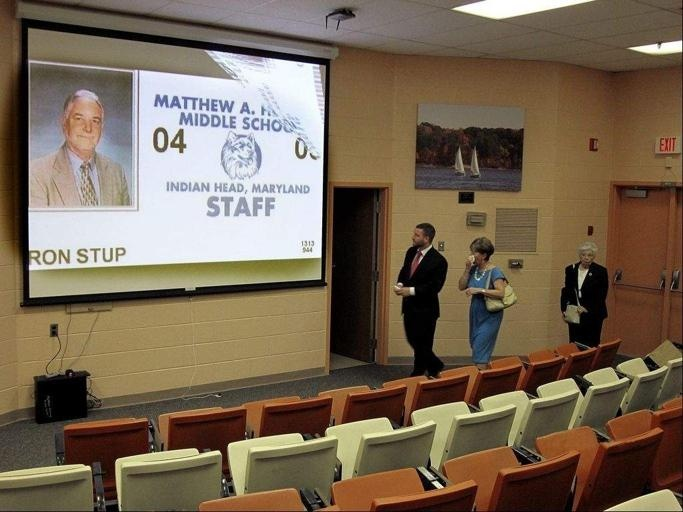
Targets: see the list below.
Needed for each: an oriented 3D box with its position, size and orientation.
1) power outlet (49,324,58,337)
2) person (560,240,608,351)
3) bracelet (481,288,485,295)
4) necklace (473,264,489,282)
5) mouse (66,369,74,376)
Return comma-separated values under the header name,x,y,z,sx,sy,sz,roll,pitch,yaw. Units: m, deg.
name,x,y,z,sx,sy,sz,roll,pitch,yaw
power outlet,-3.297,0.862,5.973,0.117,0.176,0.123,1,0,-22
person,3.308,0.736,7.152,0.545,1.824,0.573,-20,21,-32
bracelet,1.654,0.420,6.071,0.035,0.053,0.048,-1,-10,29
necklace,1.660,0.211,6.186,0.134,0.182,0.047,-6,-16,37
mouse,-3.080,1.332,5.925,0.064,0.050,0.066,2,-1,-14
